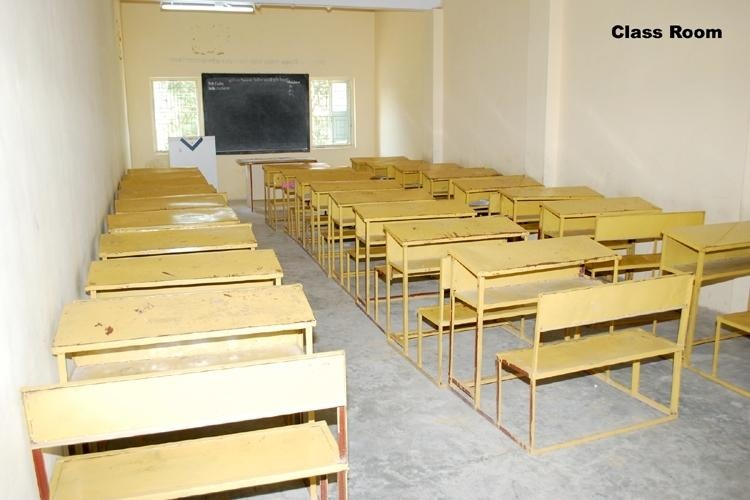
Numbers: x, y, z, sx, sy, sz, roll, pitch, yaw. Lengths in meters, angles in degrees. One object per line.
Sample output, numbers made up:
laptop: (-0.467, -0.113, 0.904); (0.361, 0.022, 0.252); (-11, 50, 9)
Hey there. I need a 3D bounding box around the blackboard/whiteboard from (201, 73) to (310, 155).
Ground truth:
blackboard/whiteboard: (-2.393, -2.696, 10.451); (2.142, 1.412, 0.077); (-4, 11, -19)
